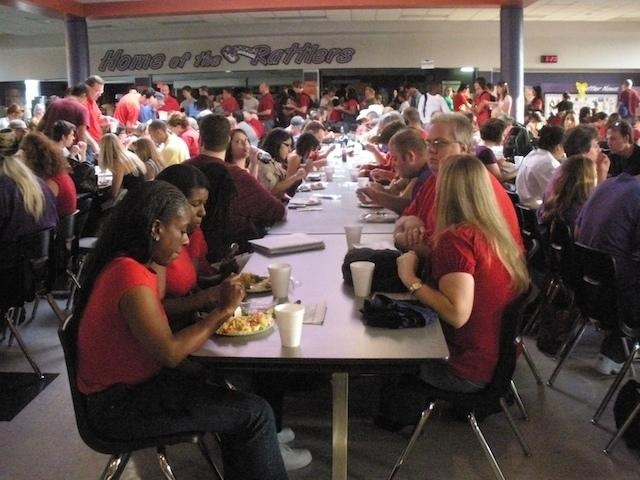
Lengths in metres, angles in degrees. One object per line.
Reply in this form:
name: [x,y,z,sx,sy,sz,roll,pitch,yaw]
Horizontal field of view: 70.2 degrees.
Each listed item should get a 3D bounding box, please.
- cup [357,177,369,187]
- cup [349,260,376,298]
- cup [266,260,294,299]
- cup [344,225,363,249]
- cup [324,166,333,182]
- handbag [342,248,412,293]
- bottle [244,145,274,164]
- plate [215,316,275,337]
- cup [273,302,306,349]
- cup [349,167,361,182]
cup: [0.439,-0.607,4.734,0.163,0.119,0.150,-2,8,0]
cup: [0.171,0.153,1.916,0.128,0.140,0.125,-1,10,0]
cup: [-0.162,0.160,1.859,0.104,0.113,0.103,-1,9,0]
cup: [0.167,-0.017,2.392,0.111,0.119,0.110,-1,4,0]
cup: [0.111,-0.788,5.377,0.152,0.166,0.151,-1,4,0]
handbag: [0.236,0.121,1.909,0.223,0.081,0.171,-6,32,3]
bottle: [-0.588,-0.832,4.423,0.099,0.084,0.336,-19,25,-15]
plate: [-0.255,0.292,1.568,0.145,0.042,0.156,7,14,28]
cup: [-0.095,0.276,1.465,0.103,0.107,0.101,-2,-4,0]
cup: [0.383,-0.747,5.180,0.151,0.164,0.150,-1,3,0]
